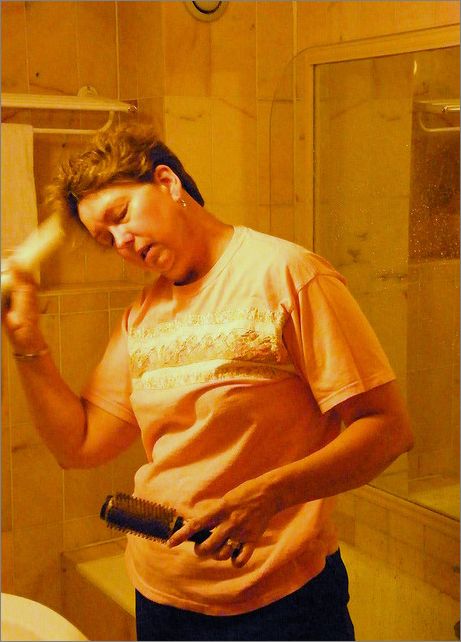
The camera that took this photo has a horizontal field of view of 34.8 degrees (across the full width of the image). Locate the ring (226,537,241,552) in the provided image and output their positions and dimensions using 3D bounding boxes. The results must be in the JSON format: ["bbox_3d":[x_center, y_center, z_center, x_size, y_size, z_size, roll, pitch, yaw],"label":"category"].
[{"bbox_3d":[0.003,0.205,0.679,0.009,0.008,0.012,1,-8,-9],"label":"ring"}]
